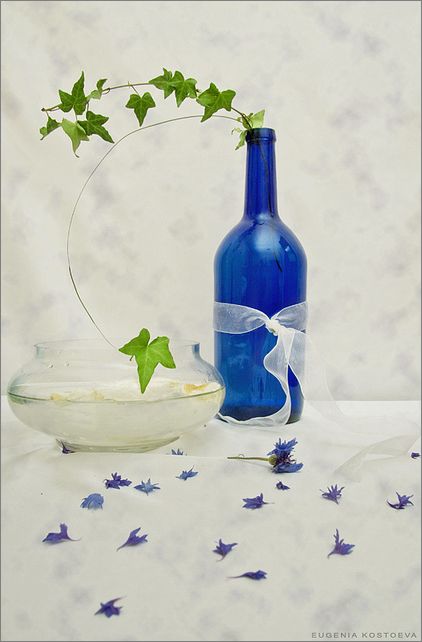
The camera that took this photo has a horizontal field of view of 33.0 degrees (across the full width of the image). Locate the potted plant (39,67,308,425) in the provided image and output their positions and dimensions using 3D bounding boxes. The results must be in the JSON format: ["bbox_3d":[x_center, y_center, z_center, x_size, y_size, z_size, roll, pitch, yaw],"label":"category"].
[{"bbox_3d":[-0.042,-0.133,1.113,0.393,0.575,0.630,2,8,7],"label":"potted plant"}]
